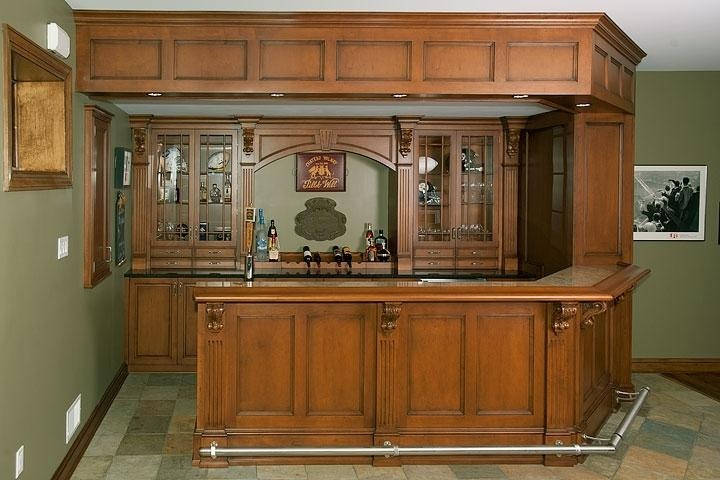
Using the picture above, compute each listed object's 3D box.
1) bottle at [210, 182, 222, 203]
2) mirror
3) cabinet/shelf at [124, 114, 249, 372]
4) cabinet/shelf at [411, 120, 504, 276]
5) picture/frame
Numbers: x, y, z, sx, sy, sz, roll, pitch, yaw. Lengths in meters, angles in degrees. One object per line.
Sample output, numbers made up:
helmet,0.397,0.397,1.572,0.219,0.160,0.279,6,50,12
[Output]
bottle,-1.642,-0.526,6.942,0.171,0.278,0.190,-2,3,-15
mirror,-2.386,-0.919,4.428,0.343,1.129,1.037,-2,11,-10
cabinet/shelf,-1.902,0.029,6.766,1.278,2.726,0.776,0,11,-3
cabinet/shelf,1.152,-0.464,7.060,1.001,1.605,0.484,2,11,10
picture/frame,3.413,-0.448,6.745,0.885,0.830,0.036,1,-2,1
